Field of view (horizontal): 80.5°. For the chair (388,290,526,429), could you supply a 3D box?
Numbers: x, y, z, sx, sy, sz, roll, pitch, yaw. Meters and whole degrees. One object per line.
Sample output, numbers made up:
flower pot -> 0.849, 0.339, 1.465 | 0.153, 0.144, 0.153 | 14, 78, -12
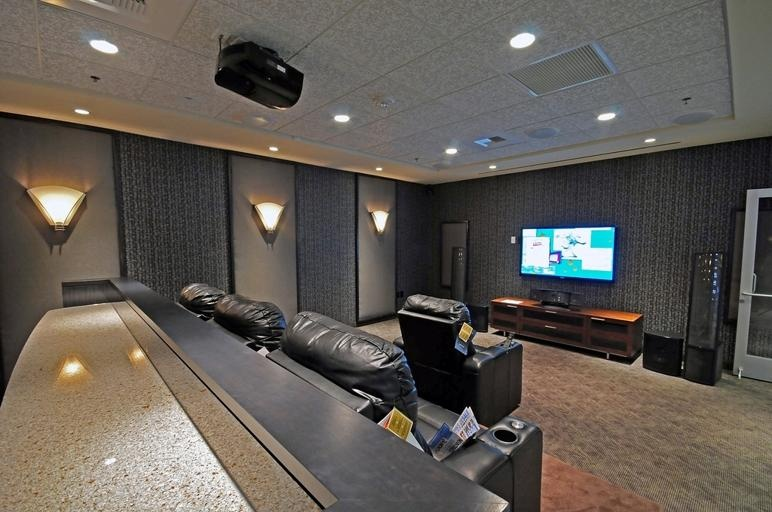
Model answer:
chair -> 0.702, 0.942, 4.502 | 0.958, 0.999, 1.065 | -4, 5, -41

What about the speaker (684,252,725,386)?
speaker -> 3.562, 0.693, 5.147 | 0.340, 1.451, 0.300 | 1, 4, 37

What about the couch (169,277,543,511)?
couch -> -0.185, 0.908, 3.113 | 1.195, 0.577, 1.611 | -9, 15, -44

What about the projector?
projector -> -0.969, -1.456, 3.722 | 0.701, 0.324, 0.382 | 5, 14, -36

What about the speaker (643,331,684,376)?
speaker -> 3.338, 1.145, 5.469 | 0.287, 0.479, 0.425 | -11, 14, -37

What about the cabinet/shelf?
cabinet/shelf -> 2.475, 0.979, 6.488 | 1.920, 0.574, 0.622 | 6, 13, 44
